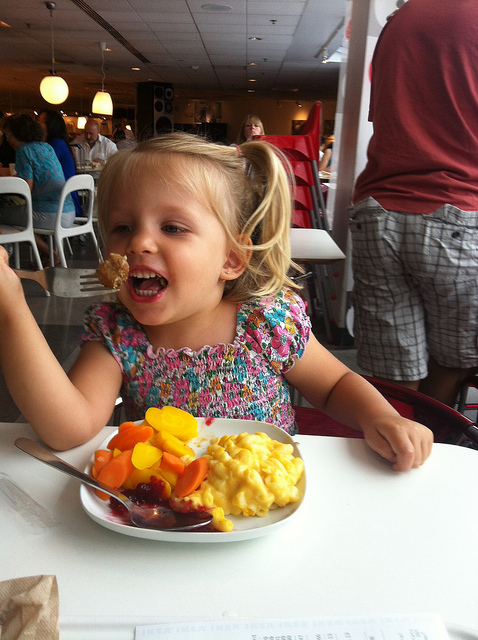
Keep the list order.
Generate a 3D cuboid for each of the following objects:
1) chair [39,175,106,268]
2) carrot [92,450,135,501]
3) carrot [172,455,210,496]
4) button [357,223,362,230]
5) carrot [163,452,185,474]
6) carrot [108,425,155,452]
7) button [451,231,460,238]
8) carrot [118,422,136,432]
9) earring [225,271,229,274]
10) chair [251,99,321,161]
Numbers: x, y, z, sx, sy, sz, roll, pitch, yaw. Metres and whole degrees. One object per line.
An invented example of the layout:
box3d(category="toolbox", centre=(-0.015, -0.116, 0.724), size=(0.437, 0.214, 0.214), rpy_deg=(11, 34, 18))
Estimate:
box3d(category="chair", centre=(-1.689, -0.945, 4.563), size=(0.702, 0.856, 0.592), rpy_deg=(6, 21, 11))
box3d(category="carrot", centre=(-0.148, 0.180, 0.558), size=(0.052, 0.014, 0.047), rpy_deg=(15, 53, -25))
box3d(category="carrot", centre=(-0.053, 0.181, 0.561), size=(0.031, 0.010, 0.037), rpy_deg=(13, 65, 54))
box3d(category="button", centre=(0.423, -0.332, 1.709), size=(0.005, 0.017, 0.019), rpy_deg=(-5, 9, -33))
box3d(category="carrot", centre=(-0.077, 0.167, 0.571), size=(0.022, 0.005, 0.024), rpy_deg=(35, 8, 34))
box3d(category="carrot", centre=(-0.137, 0.155, 0.623), size=(0.060, 0.017, 0.032), rpy_deg=(-19, 53, 27))
box3d(category="button", centre=(0.670, -0.265, 1.498), size=(0.019, 0.016, 0.018), rpy_deg=(5, 14, 13))
box3d(category="carrot", centre=(-0.156, 0.145, 0.661), size=(0.019, 0.009, 0.017), rpy_deg=(-2, 7, 9))
box3d(category="earring", centre=(-0.024, -0.094, 0.947), size=(0.007, 0.002, 0.007), rpy_deg=(10, 33, 8))
box3d(category="chair", centre=(0.375, -1.396, 3.993), size=(0.552, 0.687, 0.478), rpy_deg=(-5, 27, -1))
